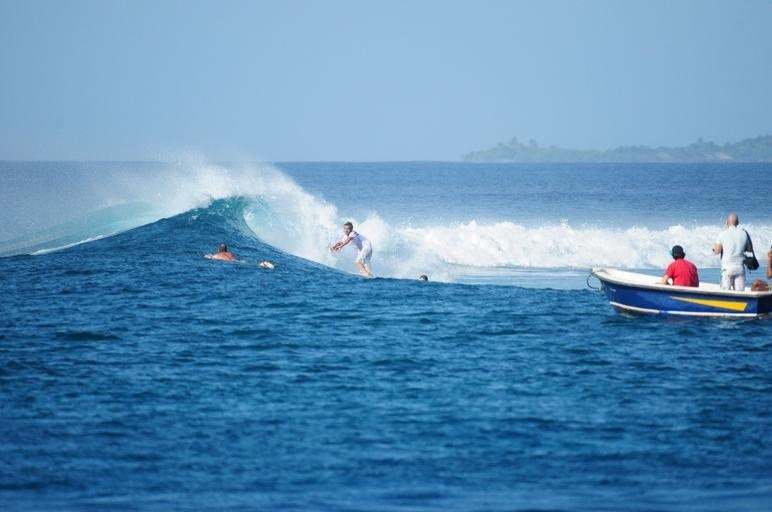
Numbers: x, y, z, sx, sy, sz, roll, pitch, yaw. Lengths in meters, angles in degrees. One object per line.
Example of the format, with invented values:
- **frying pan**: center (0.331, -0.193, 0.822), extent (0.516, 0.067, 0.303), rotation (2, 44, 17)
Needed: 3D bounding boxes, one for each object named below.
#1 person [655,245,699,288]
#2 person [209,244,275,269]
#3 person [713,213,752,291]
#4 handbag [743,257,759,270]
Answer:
- **person**: center (8.258, 0.284, 26.230), extent (0.985, 1.388, 0.840), rotation (-4, 28, 20)
- **person**: center (-4.270, 0.028, 27.040), extent (1.175, 0.476, 0.309), rotation (16, 34, 15)
- **person**: center (7.454, -0.074, 19.726), extent (0.738, 1.693, 1.157), rotation (-3, 7, 20)
- **handbag**: center (7.781, 0.150, 19.680), extent (0.257, 0.390, 0.262), rotation (5, 23, 45)
